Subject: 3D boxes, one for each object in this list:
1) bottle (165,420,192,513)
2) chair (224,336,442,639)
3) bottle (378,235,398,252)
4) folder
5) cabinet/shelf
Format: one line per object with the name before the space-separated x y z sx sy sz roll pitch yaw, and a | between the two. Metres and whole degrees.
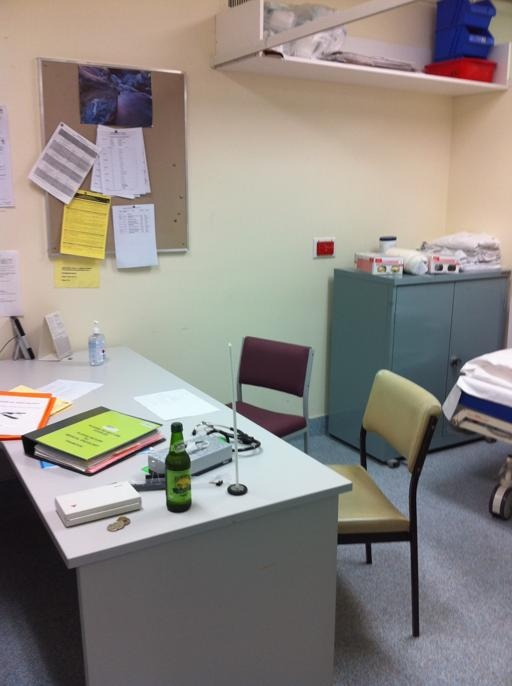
bottle | -0.163 0.242 1.145 0.054 0.195 0.136 1 12 -7
chair | 0.464 0.413 2.321 0.838 1.309 0.743 1 14 -21
bottle | 0.777 -0.592 3.169 0.104 0.116 0.105 4 17 23
folder | -0.432 0.250 1.440 0.177 0.040 0.179 9 17 29
cabinet/shelf | 0.820 0.092 2.717 0.944 0.944 0.524 -7 18 -22
